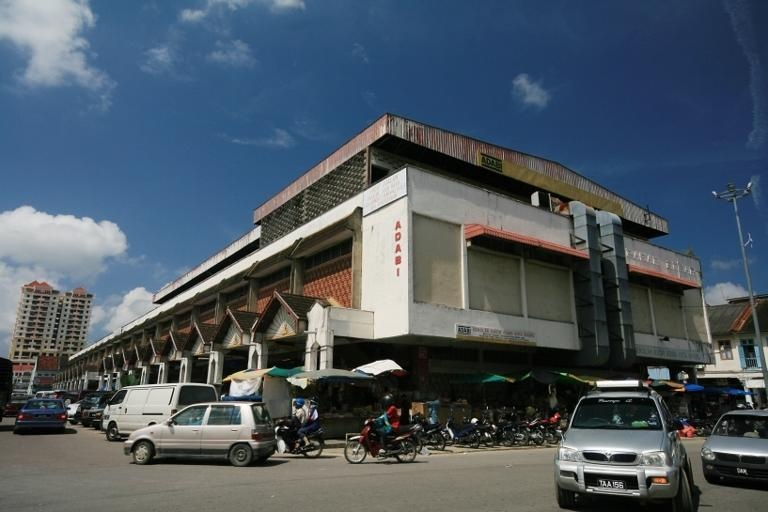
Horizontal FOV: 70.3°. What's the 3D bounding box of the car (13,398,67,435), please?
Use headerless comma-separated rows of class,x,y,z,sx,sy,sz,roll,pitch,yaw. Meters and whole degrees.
car,-17.677,8.209,28.199,2.172,1.845,1.483,19,-28,-40

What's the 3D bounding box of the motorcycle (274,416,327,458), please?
motorcycle,-3.395,7.238,21.800,1.876,1.499,1.011,4,-22,-10

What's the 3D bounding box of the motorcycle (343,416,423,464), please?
motorcycle,-0.205,7.374,21.185,3.222,1.955,1.354,4,-34,-4

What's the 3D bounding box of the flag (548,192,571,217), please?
flag,12.278,-3.450,38.415,2.337,0.765,1.804,13,3,18

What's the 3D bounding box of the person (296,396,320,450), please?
person,-3.191,6.576,21.812,0.917,1.764,0.821,-6,2,20
